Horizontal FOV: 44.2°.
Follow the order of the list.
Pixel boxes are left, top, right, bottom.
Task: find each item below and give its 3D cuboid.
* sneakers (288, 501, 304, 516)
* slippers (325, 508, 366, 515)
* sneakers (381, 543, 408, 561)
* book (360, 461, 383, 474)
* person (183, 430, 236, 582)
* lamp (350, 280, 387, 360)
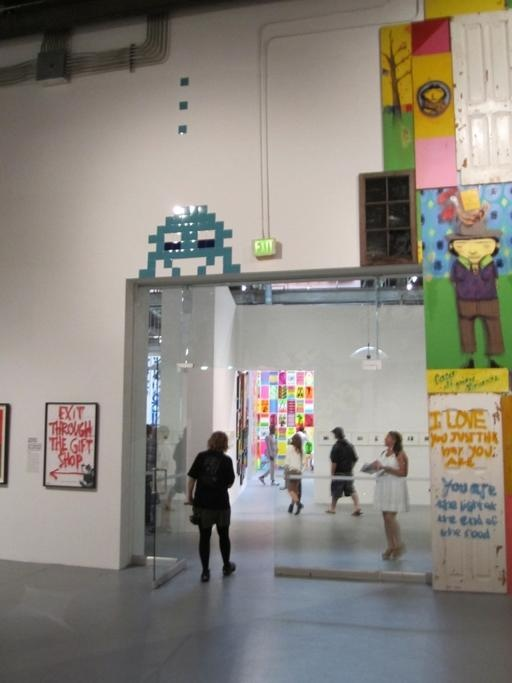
[{"bbox_3d":[0.326,1.376,5.181,0.056,0.133,0.164,1,-1,-31],"label":"sneakers"},{"bbox_3d":[0.711,1.398,5.120,0.285,0.055,0.014,-2,-4,14],"label":"slippers"},{"bbox_3d":[1.092,1.695,5.020,0.208,0.102,0.076,-22,2,-5],"label":"sneakers"},{"bbox_3d":[0.937,1.023,5.113,0.123,0.054,0.106,-18,1,11],"label":"book"},{"bbox_3d":[-0.368,1.329,5.156,0.399,1.156,0.392,0,-3,-4],"label":"person"},{"bbox_3d":[0.936,-0.164,5.277,0.271,0.698,0.108,-1,-3,10],"label":"lamp"}]
